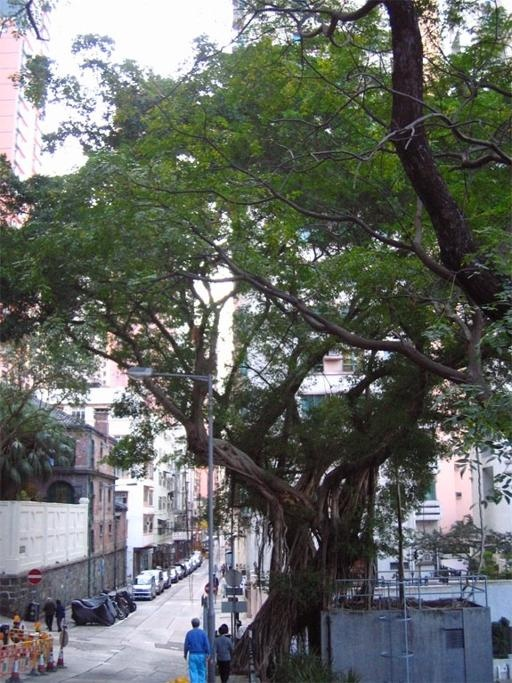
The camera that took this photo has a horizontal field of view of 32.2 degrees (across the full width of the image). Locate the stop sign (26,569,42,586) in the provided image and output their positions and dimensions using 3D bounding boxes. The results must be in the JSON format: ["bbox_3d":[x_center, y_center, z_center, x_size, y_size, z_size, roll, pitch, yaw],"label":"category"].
[{"bbox_3d":[-6.345,6.704,25.345,0.319,0.373,1.227,4,-15,-16],"label":"stop sign"}]
